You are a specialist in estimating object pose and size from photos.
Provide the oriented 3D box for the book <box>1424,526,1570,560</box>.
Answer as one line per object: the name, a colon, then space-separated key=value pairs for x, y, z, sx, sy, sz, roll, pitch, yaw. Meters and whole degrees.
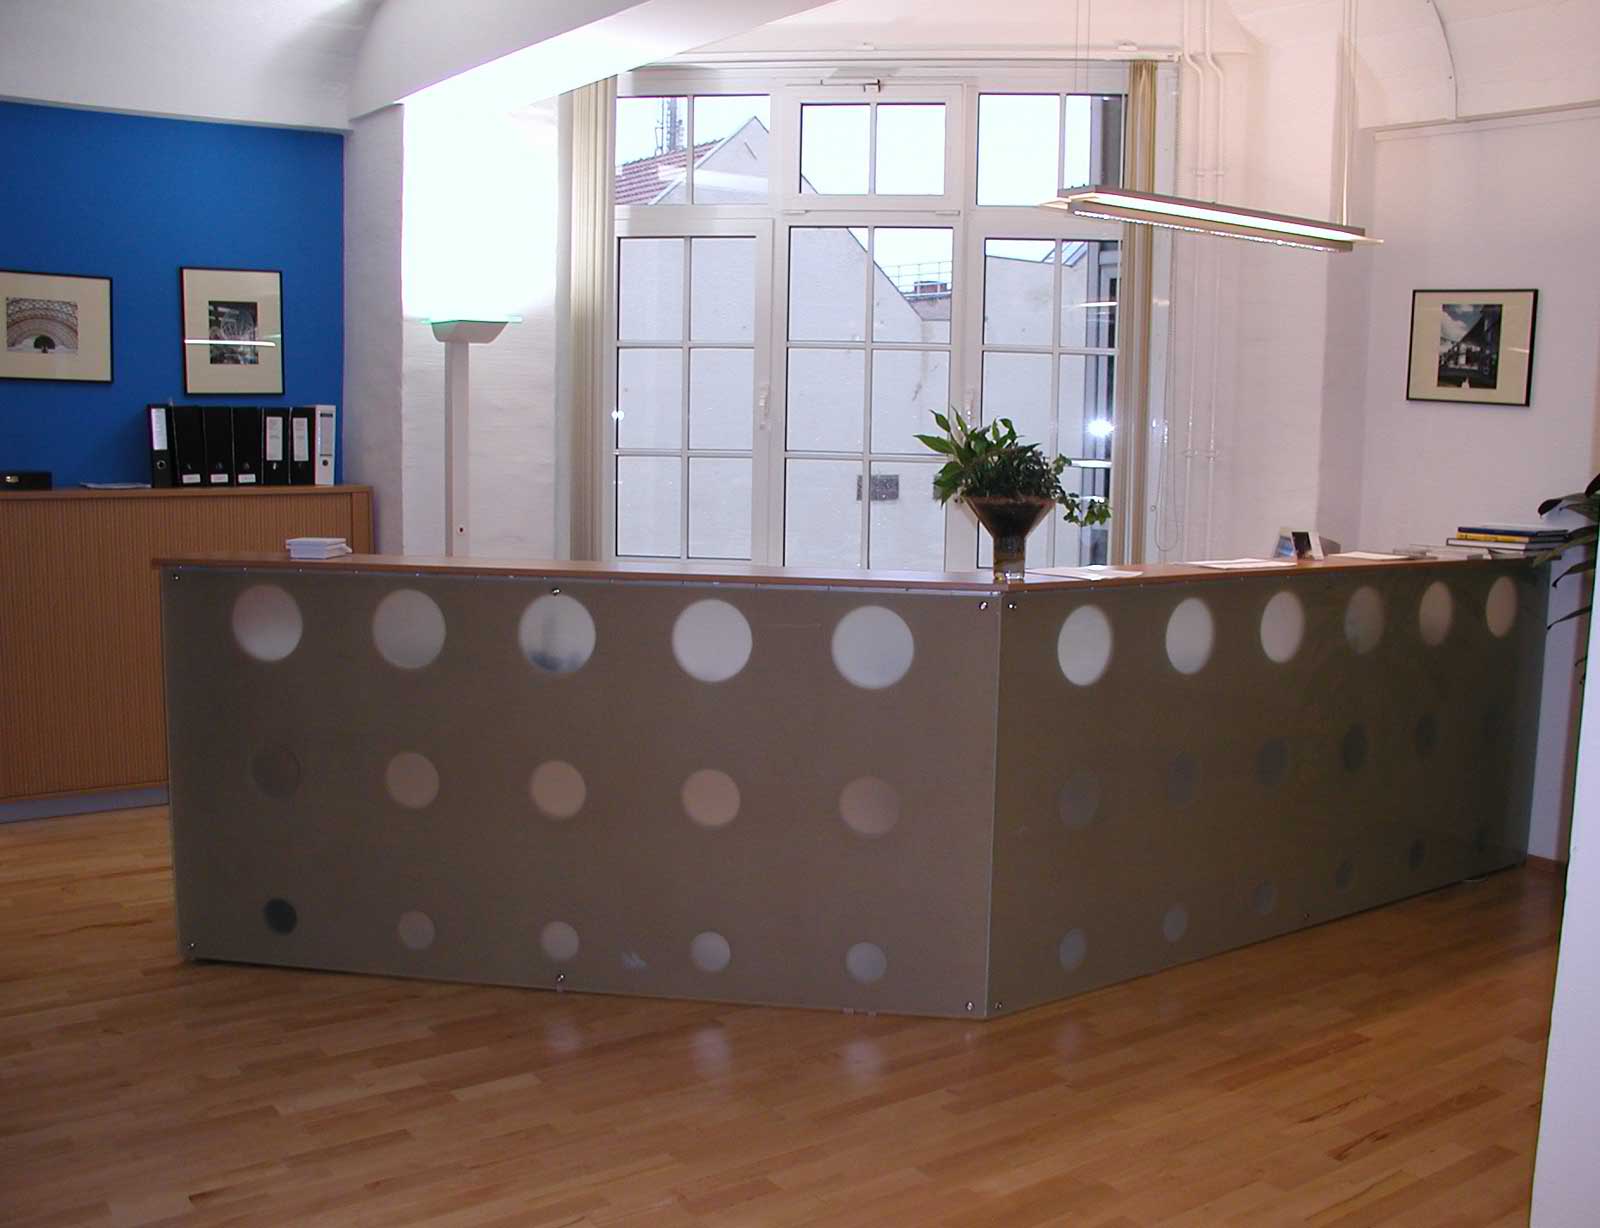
book: x=2.764 y=-0.274 z=4.832 sx=0.428 sy=0.100 sz=0.390 roll=3 pitch=12 yaw=10

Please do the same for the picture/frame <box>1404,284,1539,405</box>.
picture/frame: x=2.918 y=-1.165 z=5.415 sx=0.020 sy=0.562 sz=0.489 roll=-9 pitch=15 yaw=-35

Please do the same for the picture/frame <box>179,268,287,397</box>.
picture/frame: x=-2.716 y=-1.349 z=5.955 sx=0.592 sy=0.834 sz=0.029 roll=0 pitch=4 yaw=-32

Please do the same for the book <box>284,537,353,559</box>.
book: x=-1.476 y=-0.204 z=3.840 sx=0.181 sy=0.048 sz=0.118 roll=-2 pitch=12 yaw=-13

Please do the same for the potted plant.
potted plant: x=0.647 y=-0.337 z=3.747 sx=0.500 sy=0.404 sz=0.486 roll=4 pitch=1 yaw=34
